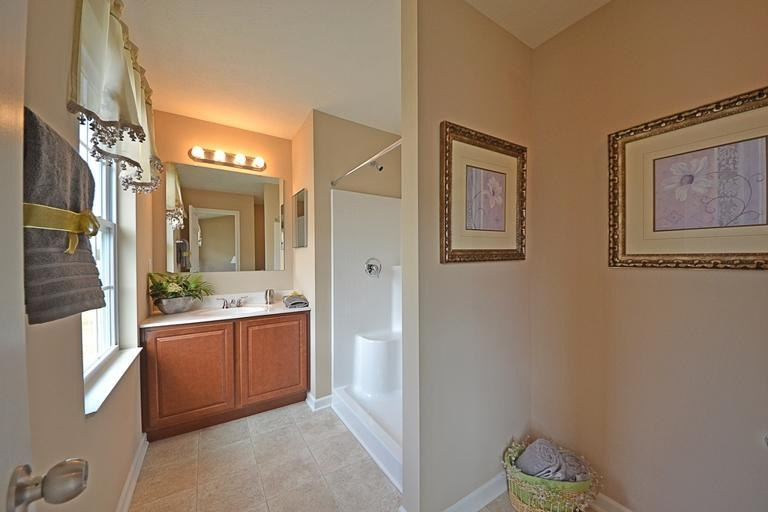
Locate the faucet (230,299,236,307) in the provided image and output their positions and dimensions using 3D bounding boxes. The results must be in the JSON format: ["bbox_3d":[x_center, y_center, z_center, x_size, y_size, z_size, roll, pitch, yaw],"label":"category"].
[{"bbox_3d":[-1.364,0.430,4.495,0.045,0.089,0.046,0,6,-12],"label":"faucet"}]

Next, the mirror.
[{"bbox_3d":[-1.487,-0.342,4.488,1.013,0.997,0.341,-1,1,-26],"label":"mirror"}]

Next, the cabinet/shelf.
[{"bbox_3d":[-1.410,0.905,4.356,1.403,0.992,0.726,-3,10,-37],"label":"cabinet/shelf"}]

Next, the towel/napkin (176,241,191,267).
[{"bbox_3d":[-1.742,-0.006,4.313,0.057,0.189,0.145,1,3,11],"label":"towel/napkin"}]

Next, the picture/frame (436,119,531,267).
[{"bbox_3d":[0.658,-0.394,3.251,0.696,0.881,0.068,-1,2,-30],"label":"picture/frame"}]

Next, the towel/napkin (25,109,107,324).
[{"bbox_3d":[-1.575,-0.197,2.446,0.327,1.020,0.289,-1,2,-31],"label":"towel/napkin"}]
